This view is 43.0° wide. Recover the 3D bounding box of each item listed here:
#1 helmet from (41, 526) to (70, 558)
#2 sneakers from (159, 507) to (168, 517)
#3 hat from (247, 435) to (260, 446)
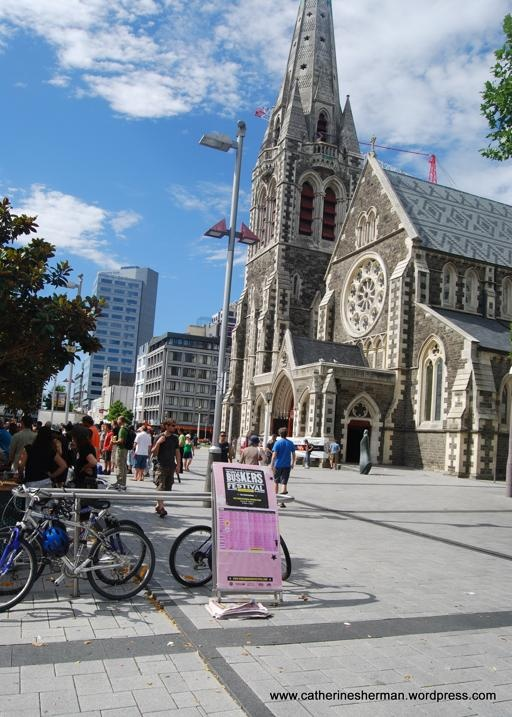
[{"bbox_3d":[-1.929,1.754,6.228,0.258,0.298,0.186,4,-7,-14],"label":"helmet"},{"bbox_3d":[-1.593,2.647,11.136,0.082,0.128,0.196,3,-27,-11],"label":"sneakers"},{"bbox_3d":[-0.047,1.515,12.096,0.184,0.134,0.251,9,13,4],"label":"hat"}]
